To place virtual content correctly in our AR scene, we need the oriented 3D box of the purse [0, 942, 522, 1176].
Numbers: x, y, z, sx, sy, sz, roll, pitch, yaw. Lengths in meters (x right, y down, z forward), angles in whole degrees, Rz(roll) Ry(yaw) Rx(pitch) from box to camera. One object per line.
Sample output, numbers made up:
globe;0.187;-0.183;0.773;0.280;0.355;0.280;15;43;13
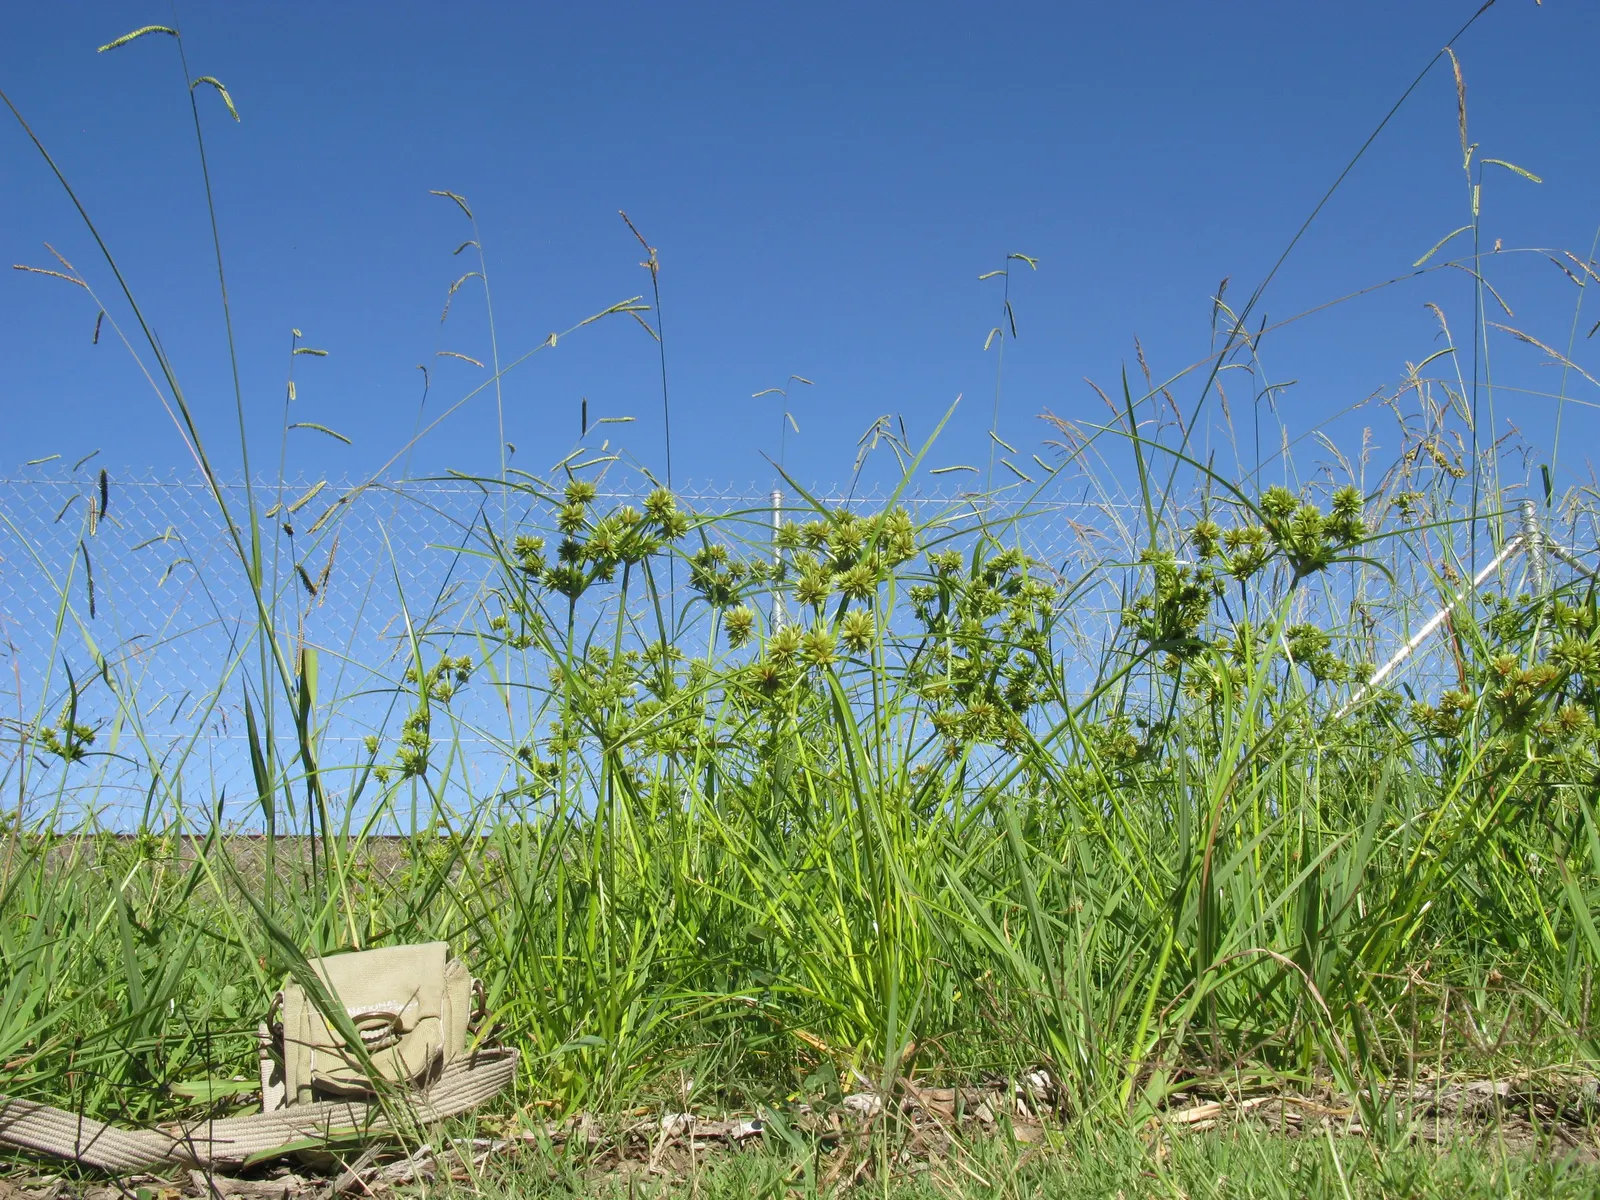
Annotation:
purse;-0.896;0.845;2.751;0.588;0.247;0.462;10;-18;-29
